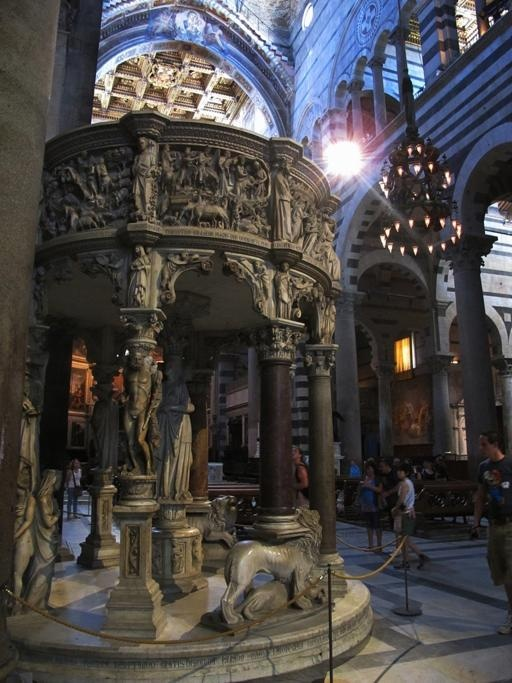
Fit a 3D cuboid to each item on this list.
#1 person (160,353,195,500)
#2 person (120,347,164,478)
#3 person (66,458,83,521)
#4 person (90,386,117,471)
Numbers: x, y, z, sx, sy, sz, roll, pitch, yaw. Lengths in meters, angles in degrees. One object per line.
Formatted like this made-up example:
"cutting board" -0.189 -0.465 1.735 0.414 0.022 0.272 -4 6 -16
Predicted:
"person" -0.930 1.035 7.240 0.415 1.604 0.339 -2 -10 -10
"person" -0.994 0.621 5.536 0.359 1.079 0.302 -1 -10 -14
"person" -4.596 3.686 15.917 0.376 1.405 2.163 -1 -10 -17
"person" -2.131 1.217 8.899 0.356 1.165 0.364 -1 -10 -16
